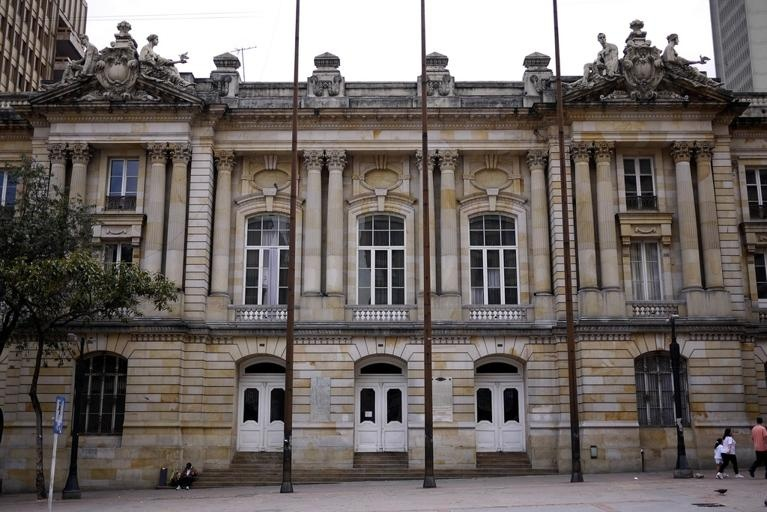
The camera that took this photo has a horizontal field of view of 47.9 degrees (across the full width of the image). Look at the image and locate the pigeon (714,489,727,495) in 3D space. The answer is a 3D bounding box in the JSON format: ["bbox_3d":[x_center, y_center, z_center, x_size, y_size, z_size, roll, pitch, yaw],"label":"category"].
[{"bbox_3d":[13.249,9.208,33.819,0.421,0.190,0.729,-4,-12,20],"label":"pigeon"}]

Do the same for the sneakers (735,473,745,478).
[{"bbox_3d":[16.495,10.112,39.850,0.635,0.268,0.203,2,-2,-38],"label":"sneakers"}]

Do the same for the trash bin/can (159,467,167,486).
[{"bbox_3d":[-11.206,11.248,44.159,0.421,0.946,0.384,2,-12,-12],"label":"trash bin/can"}]

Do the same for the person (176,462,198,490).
[{"bbox_3d":[-9.912,11.066,43.661,0.886,1.254,1.680,0,-12,-2],"label":"person"}]
